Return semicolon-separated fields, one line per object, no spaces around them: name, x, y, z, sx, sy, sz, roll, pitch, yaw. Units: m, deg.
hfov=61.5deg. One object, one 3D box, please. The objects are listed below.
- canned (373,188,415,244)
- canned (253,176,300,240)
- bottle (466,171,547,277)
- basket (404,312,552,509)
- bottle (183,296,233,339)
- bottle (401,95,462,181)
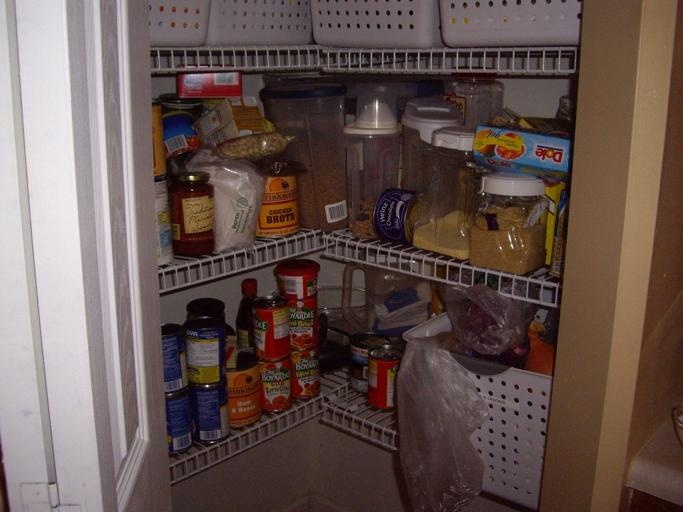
canned;0.109;-0.090;1.253;0.095;0.108;0.103;10;5;31
canned;-0.132;-0.104;1.207;0.112;0.132;0.116;0;10;0
bottle;0.309;-0.066;1.060;0.133;0.203;0.178;9;15;33
basket;0.292;0.283;1.133;0.214;0.274;0.372;-8;10;-36
bottle;-0.287;0.112;1.219;0.080;0.095;0.083;-7;24;-21
bottle;0.192;-0.249;1.200;0.105;0.165;0.097;-2;39;1
